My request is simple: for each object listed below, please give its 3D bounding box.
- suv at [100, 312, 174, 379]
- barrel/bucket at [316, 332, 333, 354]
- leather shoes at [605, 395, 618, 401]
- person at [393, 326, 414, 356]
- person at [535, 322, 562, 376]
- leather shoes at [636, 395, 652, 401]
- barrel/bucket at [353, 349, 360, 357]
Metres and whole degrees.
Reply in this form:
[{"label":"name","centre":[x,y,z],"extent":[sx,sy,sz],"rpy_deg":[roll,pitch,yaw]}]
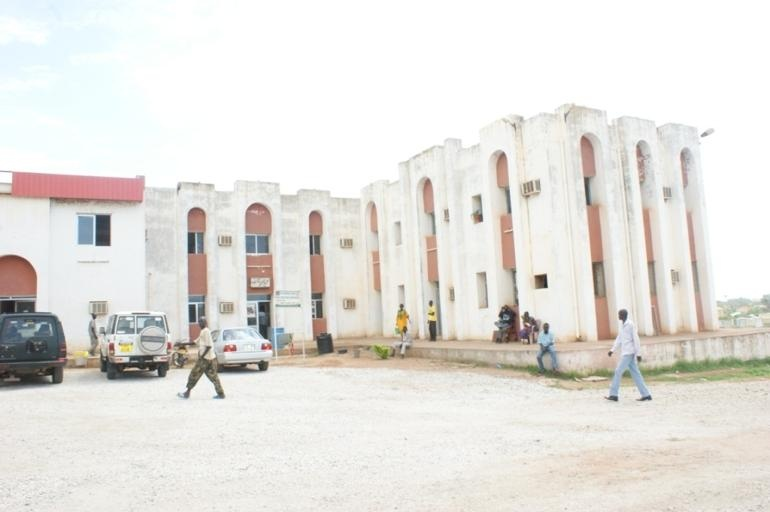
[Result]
[{"label":"suv","centre":[-9.341,3.222,27.248],"extent":[1.980,2.514,3.103],"rpy_deg":[5,-10,-38]},{"label":"barrel/bucket","centre":[-3.066,4.435,37.471],"extent":[0.858,1.088,0.704],"rpy_deg":[-9,-11,40]},{"label":"leather shoes","centre":[6.546,4.111,21.284],"extent":[0.343,0.136,0.112],"rpy_deg":[8,-7,9]},{"label":"person","centre":[0.774,3.793,32.722],"extent":[0.774,1.302,0.870],"rpy_deg":[-2,-8,-1]},{"label":"person","centre":[5.773,3.258,26.330],"extent":[0.774,1.760,1.049],"rpy_deg":[-3,-8,10]},{"label":"leather shoes","centre":[7.446,4.095,21.207],"extent":[0.440,0.178,0.147],"rpy_deg":[-3,-4,41]},{"label":"barrel/bucket","centre":[-1.387,4.651,35.262],"extent":[0.315,0.296,0.317],"rpy_deg":[0,-4,0]}]
